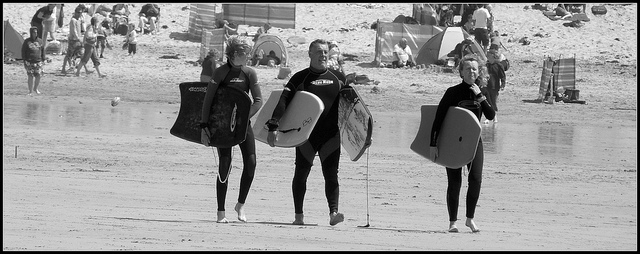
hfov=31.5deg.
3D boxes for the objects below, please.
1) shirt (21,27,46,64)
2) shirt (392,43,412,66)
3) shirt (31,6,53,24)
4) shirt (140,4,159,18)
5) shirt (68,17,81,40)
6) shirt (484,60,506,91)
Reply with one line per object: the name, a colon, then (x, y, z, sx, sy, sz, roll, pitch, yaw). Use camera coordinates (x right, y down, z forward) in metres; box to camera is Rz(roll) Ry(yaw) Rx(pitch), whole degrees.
shirt: (-16.623, -4.750, 65.414, 1.231, 1.952, 1.096, 0, 1, -24)
shirt: (5.274, -4.637, 72.618, 1.217, 1.245, 1.202, -1, 15, 2)
shirt: (-17.591, -7.066, 71.313, 0.772, 1.025, 1.135, 5, 16, 20)
shirt: (-11.460, -7.764, 75.812, 1.208, 0.766, 0.552, 6, 18, 25)
shirt: (-15.124, -6.074, 69.503, 0.618, 1.298, 0.978, -2, 16, -1)
shirt: (9.654, -2.946, 64.817, 1.303, 1.520, 1.921, -10, -10, 26)
